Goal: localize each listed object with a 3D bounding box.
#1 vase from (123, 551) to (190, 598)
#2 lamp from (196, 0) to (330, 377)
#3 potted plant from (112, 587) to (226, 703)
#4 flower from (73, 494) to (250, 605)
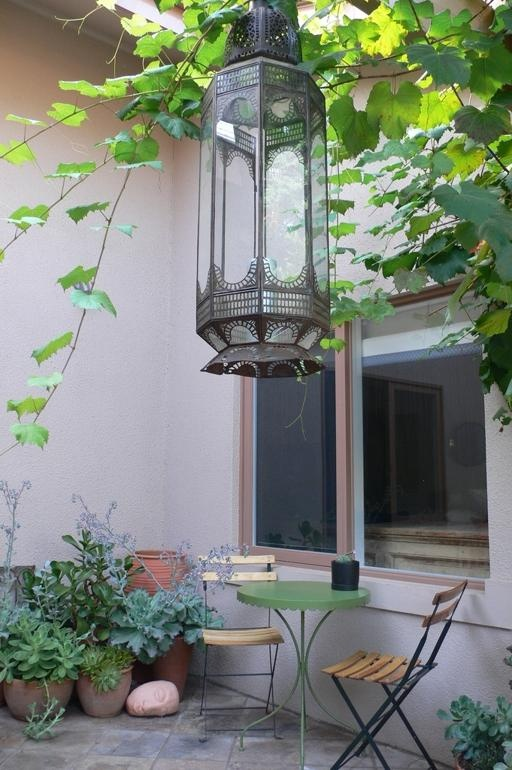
[{"bbox_3d":[-0.663,1.205,4.049,0.318,0.300,0.312,2,-2,-28],"label":"vase"},{"bbox_3d":[0.012,-0.391,1.279,0.272,0.746,0.363,-1,-12,5],"label":"lamp"},{"bbox_3d":[-0.611,1.575,3.870,0.714,0.676,0.645,7,-22,-36],"label":"potted plant"},{"bbox_3d":[-0.669,1.127,3.969,1.352,0.552,0.530,20,-6,-29],"label":"flower"}]
